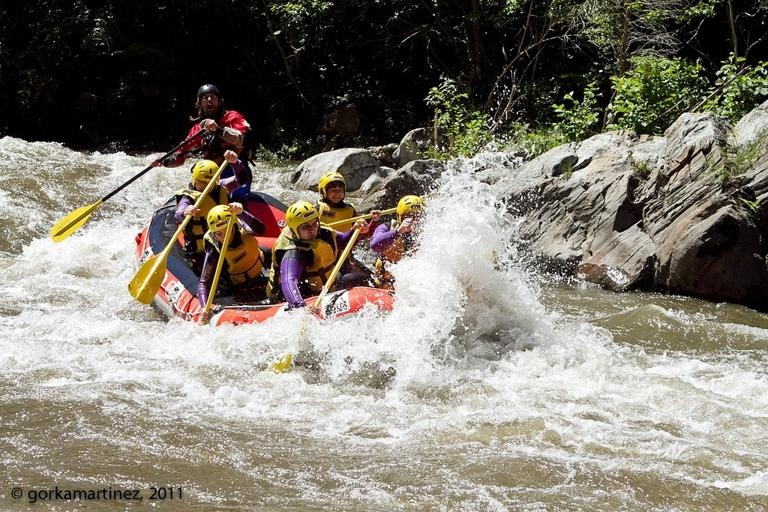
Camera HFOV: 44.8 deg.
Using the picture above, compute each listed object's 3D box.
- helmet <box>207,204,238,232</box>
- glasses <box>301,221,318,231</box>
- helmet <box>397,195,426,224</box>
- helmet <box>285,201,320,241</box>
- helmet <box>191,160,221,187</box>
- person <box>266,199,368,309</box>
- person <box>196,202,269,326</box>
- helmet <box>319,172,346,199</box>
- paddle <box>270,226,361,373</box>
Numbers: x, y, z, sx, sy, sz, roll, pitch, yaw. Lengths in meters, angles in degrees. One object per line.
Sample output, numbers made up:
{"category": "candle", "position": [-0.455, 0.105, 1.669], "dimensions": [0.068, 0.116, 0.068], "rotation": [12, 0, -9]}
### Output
{"category": "helmet", "position": [-2.406, -0.555, 13.800], "dimensions": [0.315, 0.399, 0.426], "rotation": [-28, -11, -7]}
{"category": "glasses", "position": [-1.040, -0.441, 13.078], "dimensions": [0.127, 0.172, 0.083], "rotation": [-1, 20, -23]}
{"category": "helmet", "position": [0.368, -0.700, 13.597], "dimensions": [0.307, 0.368, 0.377], "rotation": [-6, 13, -21]}
{"category": "helmet", "position": [-1.181, -0.500, 13.256], "dimensions": [0.404, 0.544, 0.546], "rotation": [-1, -14, -15]}
{"category": "helmet", "position": [-2.871, -1.343, 14.883], "dimensions": [0.305, 0.359, 0.433], "rotation": [3, -24, -44]}
{"category": "person", "position": [-0.984, 0.008, 13.445], "dimensions": [0.689, 1.021, 1.102], "rotation": [27, 55, 33]}
{"category": "person", "position": [-2.252, -0.021, 13.790], "dimensions": [0.768, 1.567, 1.523], "rotation": [18, 18, 37]}
{"category": "helmet", "position": [-0.759, -1.129, 14.086], "dimensions": [0.313, 0.436, 0.385], "rotation": [9, 33, -15]}
{"category": "paddle", "position": [-0.968, 0.655, 12.869], "dimensions": [0.285, 2.168, 0.225], "rotation": [22, -19, 27]}
